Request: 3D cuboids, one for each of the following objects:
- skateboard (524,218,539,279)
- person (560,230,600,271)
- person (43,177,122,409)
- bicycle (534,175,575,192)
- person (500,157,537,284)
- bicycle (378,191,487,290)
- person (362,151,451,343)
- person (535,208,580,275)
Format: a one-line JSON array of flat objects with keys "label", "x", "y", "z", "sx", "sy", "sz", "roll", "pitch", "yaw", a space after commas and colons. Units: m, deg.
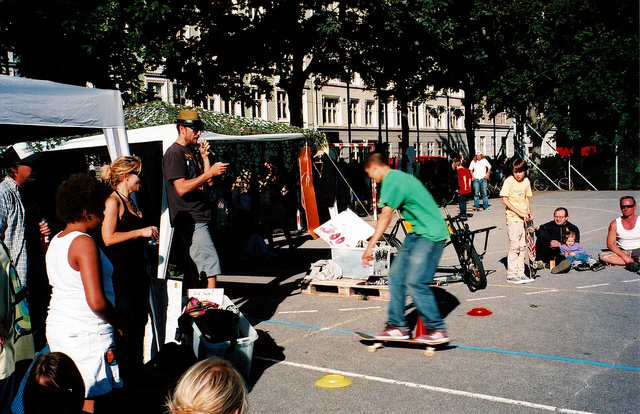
[{"label": "skateboard", "x": 4.155, "y": 0.831, "z": 12.351, "sx": 0.169, "sy": 1.183, "sz": 0.279, "roll": -3, "pitch": 5, "yaw": 27}, {"label": "person", "x": 5.176, "y": 0.860, "z": 12.693, "sx": 0.455, "sy": 0.637, "sz": 1.063, "roll": -6, "pitch": 6, "yaw": 0}, {"label": "person", "x": -2.554, "y": 0.922, "z": 6.771, "sx": 0.728, "sy": 2.391, "sz": 0.751, "roll": -12, "pitch": 16, "yaw": -36}, {"label": "bicycle", "x": 12.370, "y": -1.273, "z": 33.220, "sx": 1.523, "sy": 0.986, "sz": 0.784, "roll": 0, "pitch": 0, "yaw": 10}, {"label": "person", "x": 3.827, "y": 0.240, "z": 12.020, "sx": 0.696, "sy": 2.407, "sz": 0.840, "roll": 1, "pitch": 4, "yaw": 45}, {"label": "bicycle", "x": 1.994, "y": 0.661, "z": 11.976, "sx": 2.394, "sy": 1.535, "sz": 0.979, "roll": 9, "pitch": -24, "yaw": 5}, {"label": "person", "x": 1.262, "y": 0.623, "z": 9.183, "sx": 1.240, "sy": 2.751, "sz": 1.168, "roll": -2, "pitch": 13, "yaw": 4}, {"label": "person", "x": 4.944, "y": 0.658, "z": 13.065, "sx": 0.766, "sy": 1.351, "sz": 0.969, "roll": 8, "pitch": 6, "yaw": 26}]
